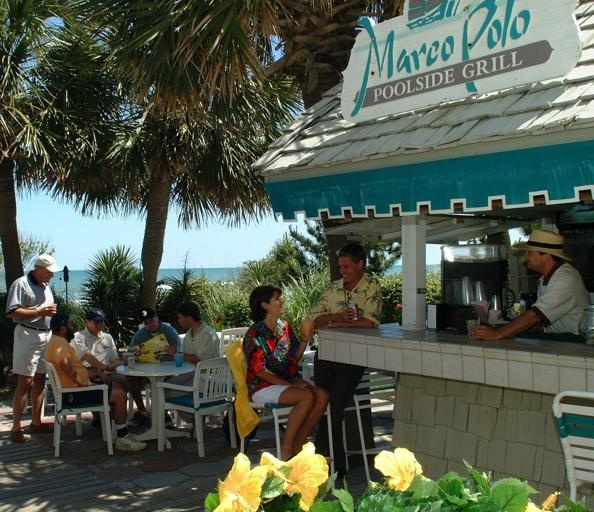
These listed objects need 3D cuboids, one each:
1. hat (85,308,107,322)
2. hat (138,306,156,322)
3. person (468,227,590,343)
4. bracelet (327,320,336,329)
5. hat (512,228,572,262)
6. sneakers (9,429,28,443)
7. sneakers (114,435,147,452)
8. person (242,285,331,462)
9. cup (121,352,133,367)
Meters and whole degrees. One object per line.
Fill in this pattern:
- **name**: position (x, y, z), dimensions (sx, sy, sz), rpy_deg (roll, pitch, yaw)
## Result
- **hat**: position (-2.790, 0.789, 6.266), dimensions (0.330, 0.149, 0.236), rpy_deg (-3, -6, 30)
- **hat**: position (-2.144, 0.805, 6.522), dimensions (0.197, 0.229, 0.242), rpy_deg (1, -28, 3)
- **person**: position (2.043, 0.226, 3.895), dimensions (0.755, 0.945, 1.193), rpy_deg (-3, -5, 37)
- **bracelet**: position (0.346, 0.694, 4.670), dimensions (0.023, 0.061, 0.065), rpy_deg (16, 26, -23)
- **hat**: position (2.434, -0.105, 4.479), dimensions (0.485, 0.178, 0.396), rpy_deg (16, 7, 12)
- **sneakers**: position (-3.573, 2.296, 5.878), dimensions (0.181, 0.163, 0.248), rpy_deg (2, -5, -30)
- **sneakers**: position (-2.033, 2.285, 5.568), dimensions (0.319, 0.120, 0.151), rpy_deg (1, -1, 2)
- **person**: position (-0.105, 1.084, 4.457), dimensions (0.736, 1.583, 0.592), rpy_deg (-4, -5, 42)
- **cup**: position (-2.150, 1.322, 5.872), dimensions (0.192, 0.175, 0.176), rpy_deg (-1, -4, 0)
